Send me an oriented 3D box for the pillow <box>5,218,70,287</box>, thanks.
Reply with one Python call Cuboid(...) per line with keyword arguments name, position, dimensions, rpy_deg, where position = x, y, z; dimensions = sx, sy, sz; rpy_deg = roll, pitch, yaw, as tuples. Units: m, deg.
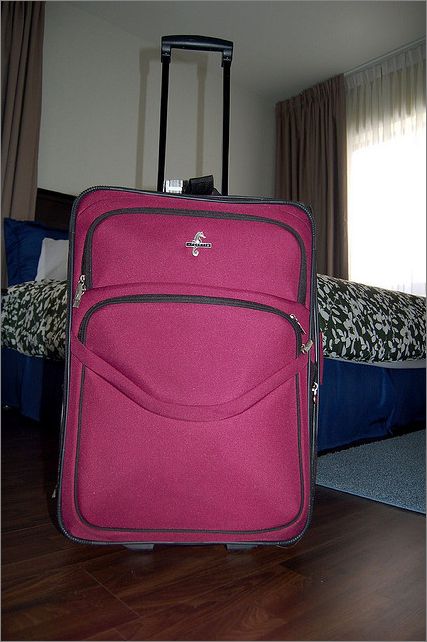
Cuboid(name="pillow", position=(-0.772, -0.262, 2.010), dimensions=(0.216, 0.317, 0.085), rpy_deg=(-3, -5, 8))
